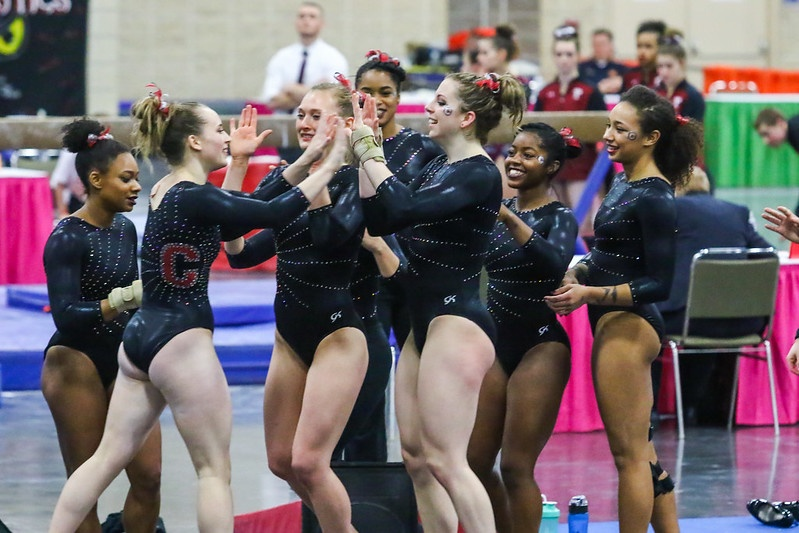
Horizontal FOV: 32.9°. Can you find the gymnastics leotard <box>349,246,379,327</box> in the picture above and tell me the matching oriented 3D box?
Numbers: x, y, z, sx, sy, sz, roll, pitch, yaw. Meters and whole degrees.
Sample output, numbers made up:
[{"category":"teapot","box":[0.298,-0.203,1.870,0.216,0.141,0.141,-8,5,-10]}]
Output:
[{"category":"gymnastics leotard","box":[-0.212,0.149,7.880,0.140,0.373,0.195,6,3,-3]}]

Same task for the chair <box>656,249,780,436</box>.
[{"category":"chair","box":[2.330,0.535,9.649,0.792,1.359,0.602,2,5,13]}]

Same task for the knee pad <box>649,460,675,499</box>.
[{"category":"knee pad","box":[1.496,1.216,7.743,0.102,0.070,0.150,24,12,20]}]
